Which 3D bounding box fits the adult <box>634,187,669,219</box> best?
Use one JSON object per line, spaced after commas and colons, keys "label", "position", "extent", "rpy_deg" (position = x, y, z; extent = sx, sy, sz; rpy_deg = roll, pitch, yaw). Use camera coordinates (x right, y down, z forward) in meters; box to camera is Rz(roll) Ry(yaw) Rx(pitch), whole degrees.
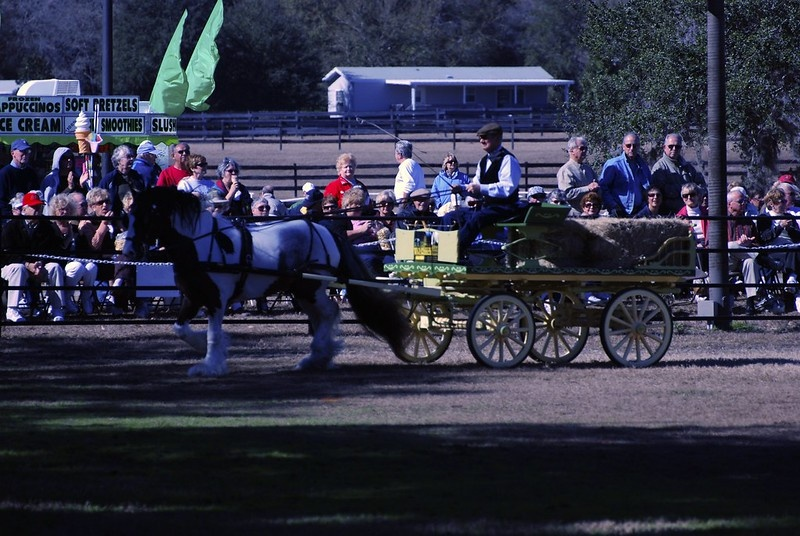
{"label": "adult", "position": [5.443, -1.402, 44.578], "extent": [0.864, 0.662, 0.416], "rpy_deg": [0, -4, -5]}

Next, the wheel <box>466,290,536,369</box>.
{"label": "wheel", "position": [2.036, 1.290, 41.231], "extent": [1.397, 1.489, 0.508], "rpy_deg": [0, 4, -1]}

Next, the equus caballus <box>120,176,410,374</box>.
{"label": "equus caballus", "position": [-2.629, 0.299, 41.604], "extent": [6.906, 3.568, 1.684], "rpy_deg": [0, -1, -33]}

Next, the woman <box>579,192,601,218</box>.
{"label": "woman", "position": [4.098, -1.301, 43.938], "extent": [0.481, 0.569, 0.614], "rpy_deg": [1, -3, 3]}

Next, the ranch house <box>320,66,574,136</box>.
{"label": "ranch house", "position": [2.192, -8.775, 99.020], "extent": [10.352, 2.698, 7.337], "rpy_deg": [2, 17, -12]}

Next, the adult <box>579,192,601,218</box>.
{"label": "adult", "position": [4.092, -1.312, 43.826], "extent": [0.481, 0.569, 0.614], "rpy_deg": [1, -3, 3]}

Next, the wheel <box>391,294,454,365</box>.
{"label": "wheel", "position": [0.641, 1.295, 41.977], "extent": [1.533, 1.240, 1.381], "rpy_deg": [7, -7, -17]}

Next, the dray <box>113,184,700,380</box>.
{"label": "dray", "position": [0.283, 0.426, 41.887], "extent": [12.767, 3.599, 3.487], "rpy_deg": [-1, 3, -21]}

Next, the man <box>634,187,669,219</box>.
{"label": "man", "position": [5.443, -1.402, 44.578], "extent": [0.864, 0.662, 0.416], "rpy_deg": [0, -4, -5]}

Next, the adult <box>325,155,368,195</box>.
{"label": "adult", "position": [-1.196, -1.971, 45.106], "extent": [1.170, 1.006, 0.629], "rpy_deg": [-4, -5, -24]}

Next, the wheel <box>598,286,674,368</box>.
{"label": "wheel", "position": [4.762, 1.210, 41.560], "extent": [1.908, 1.787, 1.115], "rpy_deg": [-1, 0, -14]}

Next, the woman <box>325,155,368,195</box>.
{"label": "woman", "position": [-1.173, -1.965, 45.103], "extent": [1.201, 1.014, 0.599], "rpy_deg": [-3, -5, -27]}

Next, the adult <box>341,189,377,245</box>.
{"label": "adult", "position": [-1.012, -0.944, 44.211], "extent": [0.737, 0.528, 1.554], "rpy_deg": [10, -41, -1]}
